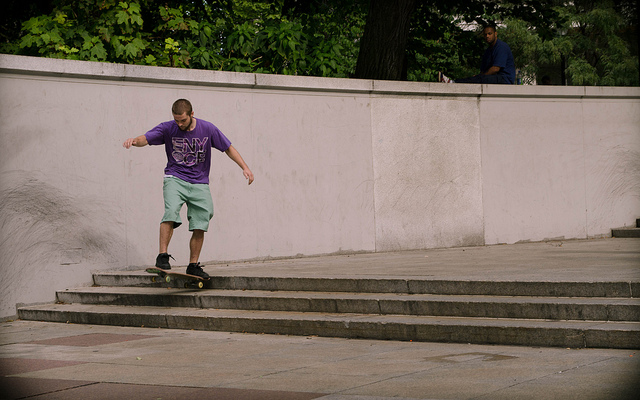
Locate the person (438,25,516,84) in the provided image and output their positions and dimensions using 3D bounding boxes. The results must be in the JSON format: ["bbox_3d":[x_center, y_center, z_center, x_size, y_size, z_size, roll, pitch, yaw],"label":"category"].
[{"bbox_3d":[3.404,-3.104,20.872,1.833,1.313,0.826,-3,3,-14],"label":"person"}]

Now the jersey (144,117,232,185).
[{"bbox_3d":[-2.175,-0.776,15.796,1.754,1.128,0.698,0,25,-14],"label":"jersey"}]

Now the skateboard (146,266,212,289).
[{"bbox_3d":[-2.299,1.271,15.567,0.833,0.179,0.482,14,-9,-31],"label":"skateboard"}]

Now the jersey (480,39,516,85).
[{"bbox_3d":[3.870,-2.985,20.758,0.705,1.004,0.563,1,1,9],"label":"jersey"}]
